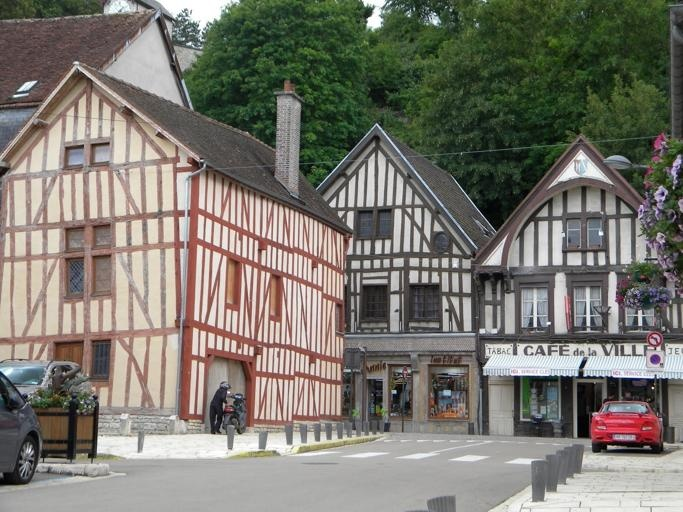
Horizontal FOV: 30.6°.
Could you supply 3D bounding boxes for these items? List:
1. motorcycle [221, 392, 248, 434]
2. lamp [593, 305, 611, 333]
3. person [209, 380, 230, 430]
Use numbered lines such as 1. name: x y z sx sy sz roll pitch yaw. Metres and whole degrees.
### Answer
1. motorcycle: -3.657 5.108 40.898 0.589 1.101 1.906 10 6 2
2. lamp: 10.648 2.517 50.558 0.856 1.045 0.863 2 -10 -14
3. person: -3.985 4.958 40.482 0.596 1.682 0.856 1 -13 -6
